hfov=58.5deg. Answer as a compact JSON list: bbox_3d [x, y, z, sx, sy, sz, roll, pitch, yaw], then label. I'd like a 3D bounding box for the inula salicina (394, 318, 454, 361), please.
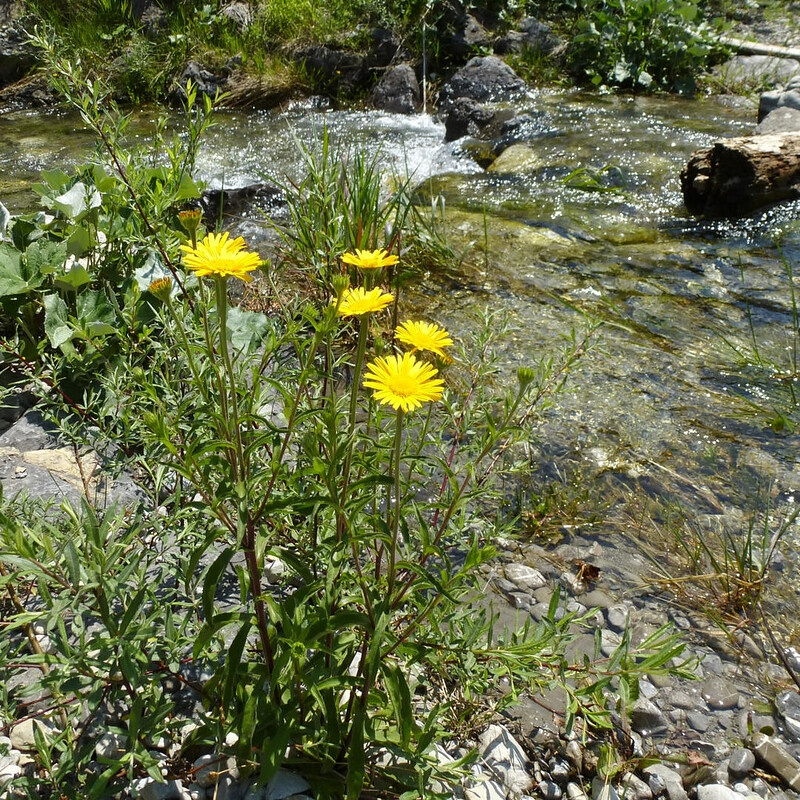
[{"bbox_3d":[0.030,-0.103,1.387,0.108,0.024,0.104,14,33,-12],"label":"inula salicina"}]

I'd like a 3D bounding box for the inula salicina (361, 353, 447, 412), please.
[{"bbox_3d":[0.013,-0.017,1.217,0.119,0.031,0.118,-11,47,-9],"label":"inula salicina"}]
